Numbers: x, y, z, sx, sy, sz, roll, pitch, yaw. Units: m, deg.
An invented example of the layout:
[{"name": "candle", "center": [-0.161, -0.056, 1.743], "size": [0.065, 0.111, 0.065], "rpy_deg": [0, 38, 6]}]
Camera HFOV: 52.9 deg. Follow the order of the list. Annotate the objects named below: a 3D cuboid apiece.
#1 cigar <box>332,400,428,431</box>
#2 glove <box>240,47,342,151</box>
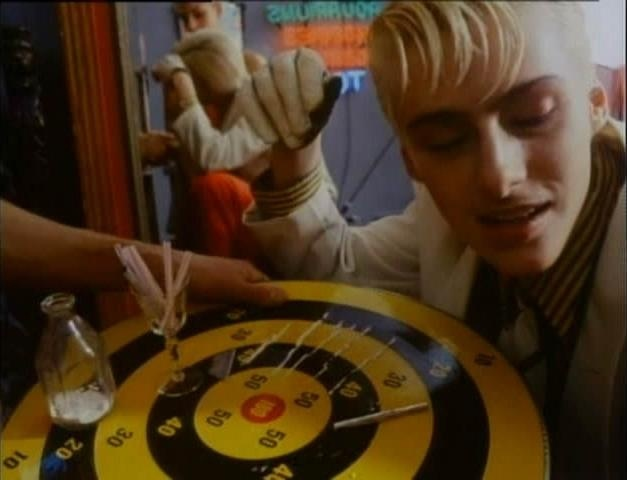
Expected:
[{"name": "cigar", "center": [0.245, 0.633, 2.268], "size": [0.364, 0.023, 0.048], "rpy_deg": [-8, 32, -8]}, {"name": "glove", "center": [-0.118, -0.592, 2.651], "size": [0.533, 0.314, 0.350], "rpy_deg": [-11, 26, -5]}]
